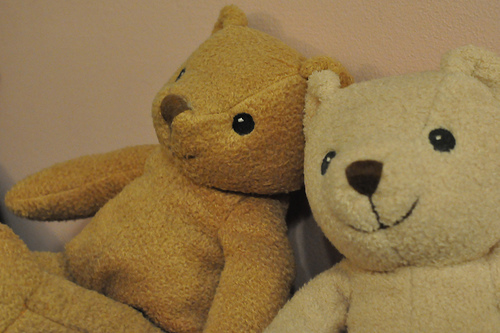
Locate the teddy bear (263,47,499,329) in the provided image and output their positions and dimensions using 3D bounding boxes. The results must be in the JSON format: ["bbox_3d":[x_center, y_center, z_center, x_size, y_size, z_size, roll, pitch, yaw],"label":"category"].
[{"bbox_3d":[0.251,0.039,1.504,0.533,0.533,0.338,2,-1,32],"label":"teddy bear"}]
